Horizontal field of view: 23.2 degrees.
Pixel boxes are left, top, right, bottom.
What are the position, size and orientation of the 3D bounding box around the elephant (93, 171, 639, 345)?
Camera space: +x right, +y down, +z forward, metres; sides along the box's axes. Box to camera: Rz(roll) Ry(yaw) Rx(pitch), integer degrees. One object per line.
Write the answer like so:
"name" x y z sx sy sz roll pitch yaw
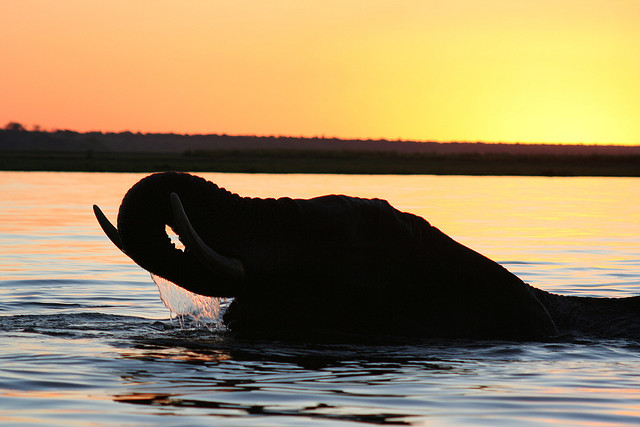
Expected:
"elephant" 1.221 0.735 16.632 6.755 1.642 1.594 8 -15 -8
